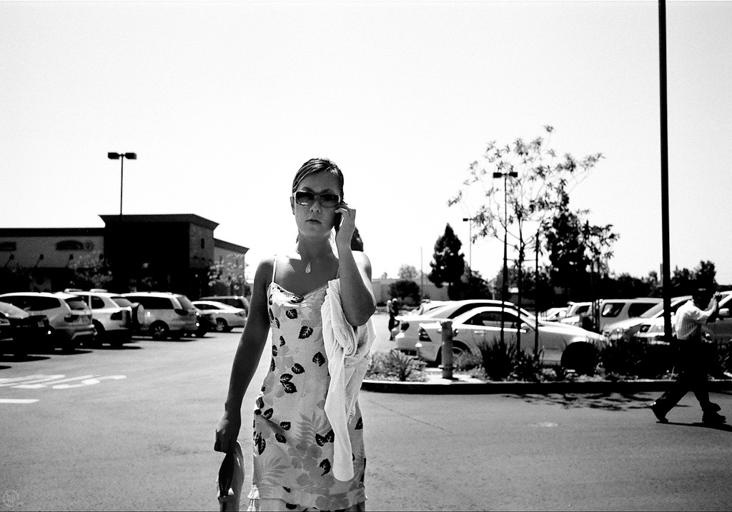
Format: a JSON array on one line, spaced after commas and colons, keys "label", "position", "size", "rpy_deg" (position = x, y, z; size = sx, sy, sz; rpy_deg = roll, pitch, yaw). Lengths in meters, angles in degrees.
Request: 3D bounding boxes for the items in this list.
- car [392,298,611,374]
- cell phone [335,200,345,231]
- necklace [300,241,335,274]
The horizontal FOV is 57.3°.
[{"label": "car", "position": [3.313, 1.883, 16.620], "size": [4.838, 1.749, 2.192], "rpy_deg": [-3, -8, 22]}, {"label": "cell phone", "position": [-0.214, -0.300, 4.849], "size": [0.060, 0.212, 0.144], "rpy_deg": [7, 4, 22]}, {"label": "necklace", "position": [-0.375, 0.030, 4.889], "size": [0.215, 0.297, 0.383], "rpy_deg": [2, -4, -7]}]
